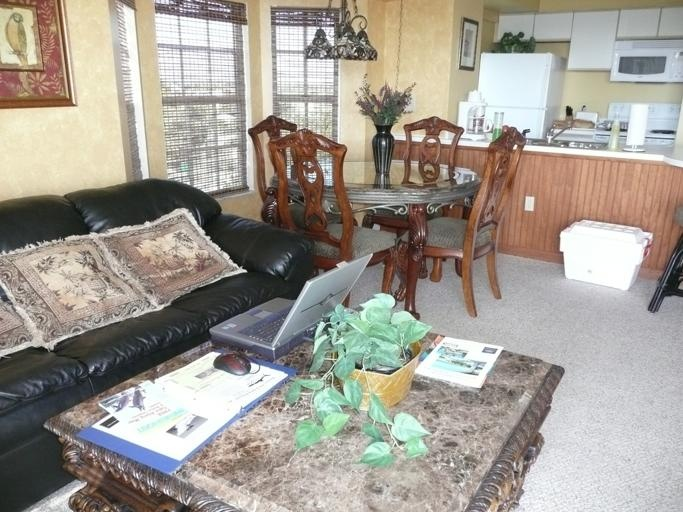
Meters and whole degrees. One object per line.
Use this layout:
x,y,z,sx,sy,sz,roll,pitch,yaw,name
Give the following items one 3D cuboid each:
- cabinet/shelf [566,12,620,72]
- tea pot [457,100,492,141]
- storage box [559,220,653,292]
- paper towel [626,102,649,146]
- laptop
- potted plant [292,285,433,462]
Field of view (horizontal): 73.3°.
3.290,-2.807,5.883,0.560,0.733,0.413,18,43,38,cabinet/shelf
1.452,-1.474,4.991,0.353,0.400,0.260,3,22,16,tea pot
2.216,-0.028,3.886,0.648,0.455,0.445,14,24,37,storage box
2.739,-1.200,4.240,0.162,0.405,0.582,14,26,30,paper towel
-0.182,0.122,1.753,0.490,0.303,0.478,12,23,31,laptop
0.061,0.365,1.368,0.405,0.188,0.456,8,29,32,potted plant
